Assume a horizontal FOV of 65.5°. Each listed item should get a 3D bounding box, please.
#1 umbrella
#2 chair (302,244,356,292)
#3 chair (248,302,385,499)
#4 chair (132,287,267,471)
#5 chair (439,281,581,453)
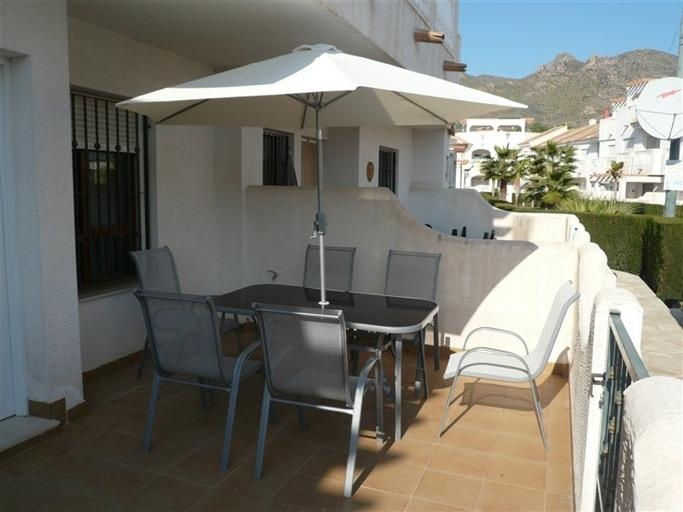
[{"bbox_3d":[-0.212,-0.817,4.990,2.871,1.974,3.172,6,12,30],"label":"umbrella"},{"bbox_3d":[-0.110,0.127,6.358,0.477,0.893,0.568,3,5,14],"label":"chair"},{"bbox_3d":[-0.148,0.952,4.042,0.907,1.415,1.036,1,10,6],"label":"chair"},{"bbox_3d":[-1.053,0.841,4.302,0.947,1.320,1.069,1,10,-6],"label":"chair"},{"bbox_3d":[1.497,0.814,4.756,0.966,1.344,1.419,6,14,19],"label":"chair"}]
